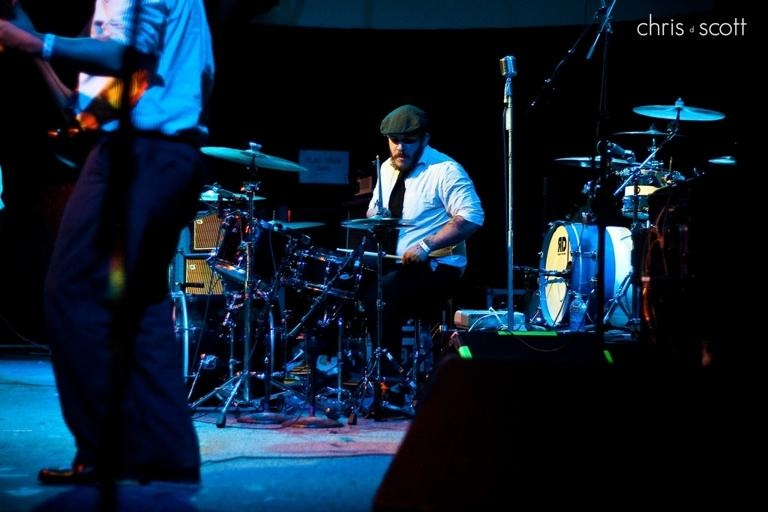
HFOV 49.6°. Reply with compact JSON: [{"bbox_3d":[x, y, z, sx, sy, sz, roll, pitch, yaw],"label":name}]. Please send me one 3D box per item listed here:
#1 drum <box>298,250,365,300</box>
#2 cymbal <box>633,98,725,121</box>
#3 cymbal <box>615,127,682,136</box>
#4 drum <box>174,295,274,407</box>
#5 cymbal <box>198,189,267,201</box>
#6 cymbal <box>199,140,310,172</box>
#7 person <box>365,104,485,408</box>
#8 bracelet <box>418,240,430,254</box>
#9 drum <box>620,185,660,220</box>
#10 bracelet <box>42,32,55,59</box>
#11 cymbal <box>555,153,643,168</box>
[{"bbox_3d":[-0.380,0.140,5.903,0.539,0.300,0.362,3,-1,13],"label":"drum"},{"bbox_3d":[2.646,-1.267,7.362,0.502,0.100,0.485,2,16,-12],"label":"cymbal"},{"bbox_3d":[2.596,-1.220,8.169,0.389,0.083,0.400,2,10,27],"label":"cymbal"},{"bbox_3d":[-1.177,0.692,5.853,0.857,0.931,0.762,2,2,-7],"label":"drum"},{"bbox_3d":[-1.264,-0.460,6.522,0.363,0.083,0.359,4,4,8],"label":"cymbal"},{"bbox_3d":[-0.931,-0.676,5.884,0.431,0.093,0.417,13,-7,-13],"label":"cymbal"},{"bbox_3d":[0.221,0.008,6.199,1.151,2.173,1.057,3,5,29],"label":"person"},{"bbox_3d":[0.276,-0.058,5.705,0.056,0.061,0.079,-3,4,43],"label":"bracelet"},{"bbox_3d":[2.177,-0.455,7.107,0.316,0.310,0.818,-5,3,19],"label":"drum"},{"bbox_3d":[-1.484,-0.930,3.681,0.068,0.100,0.064,-6,3,2],"label":"bracelet"},{"bbox_3d":[1.940,-0.839,7.343,0.815,0.109,0.700,-1,3,-21],"label":"cymbal"}]
